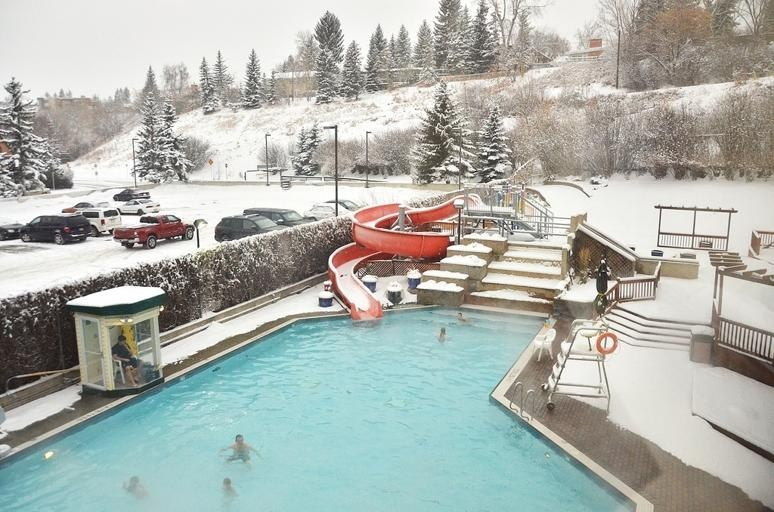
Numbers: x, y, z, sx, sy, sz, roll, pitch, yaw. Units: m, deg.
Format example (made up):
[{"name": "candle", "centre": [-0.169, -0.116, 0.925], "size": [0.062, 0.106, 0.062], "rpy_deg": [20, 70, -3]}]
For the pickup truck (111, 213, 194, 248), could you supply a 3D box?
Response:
[{"name": "pickup truck", "centre": [-15.301, -1.765, 36.539], "size": [2.243, 2.087, 5.654], "rpy_deg": [3, 12, 22]}]

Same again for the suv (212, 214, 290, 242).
[{"name": "suv", "centre": [-8.763, -1.813, 34.044], "size": [4.105, 1.764, 2.001], "rpy_deg": [1, 14, 15]}]

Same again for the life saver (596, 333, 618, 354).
[{"name": "life saver", "centre": [7.690, 3.106, 19.215], "size": [0.664, 0.970, 0.774], "rpy_deg": [0, 12, 19]}]

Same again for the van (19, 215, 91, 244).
[{"name": "van", "centre": [-22.449, -1.836, 37.135], "size": [3.940, 1.944, 1.189], "rpy_deg": [-3, 11, 9]}]
